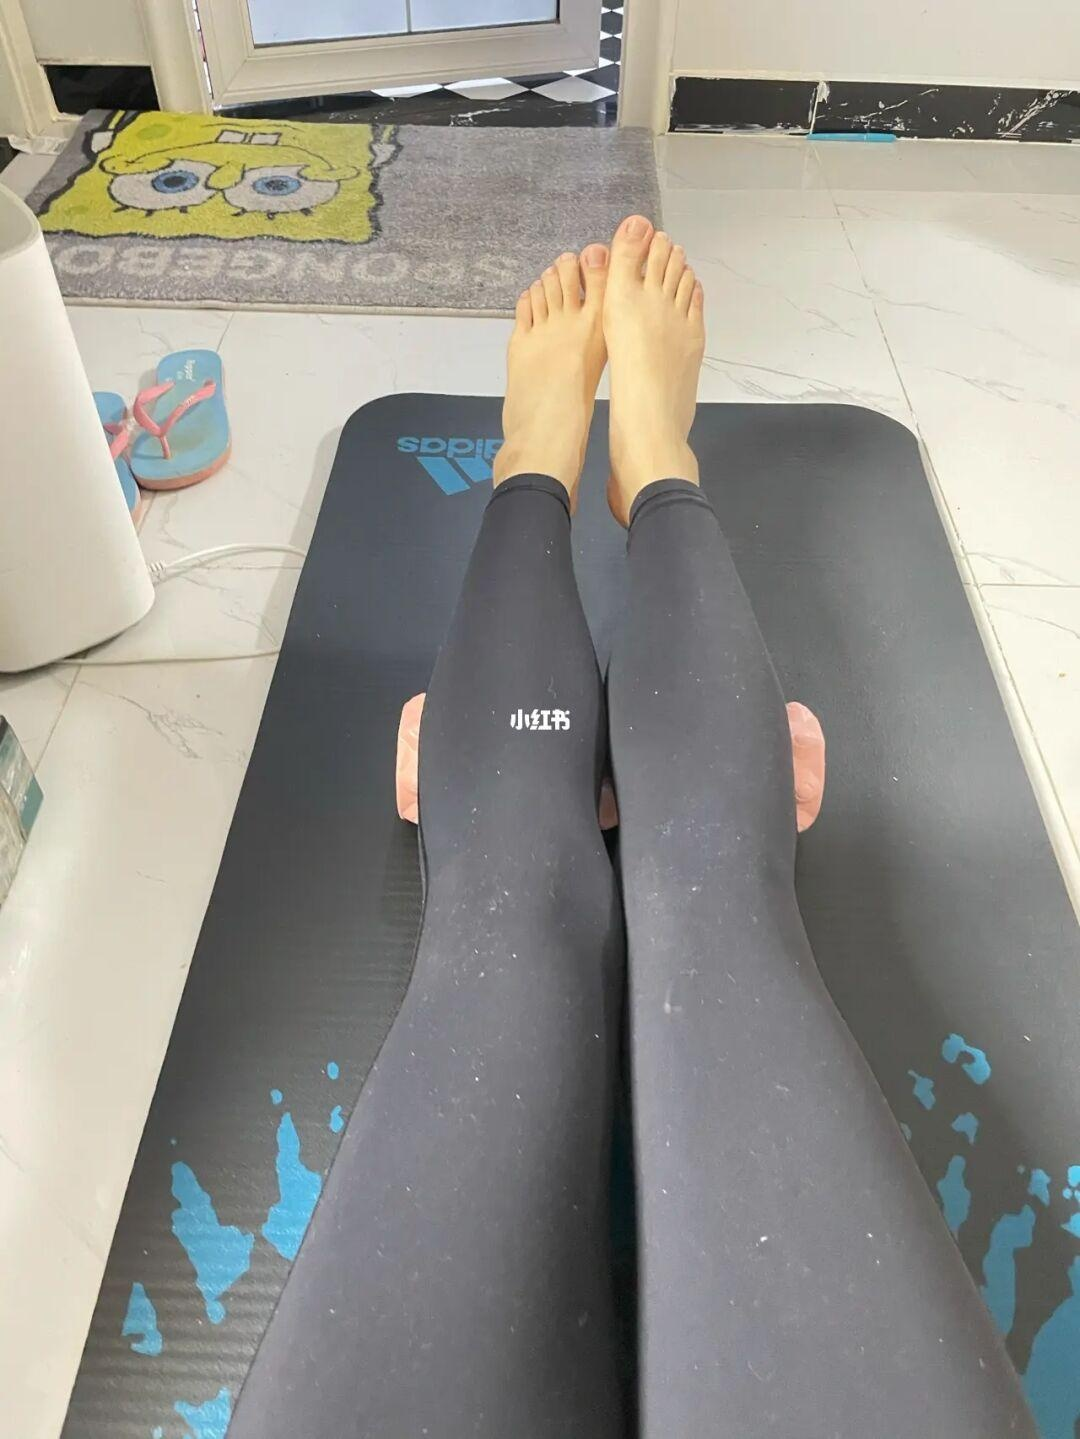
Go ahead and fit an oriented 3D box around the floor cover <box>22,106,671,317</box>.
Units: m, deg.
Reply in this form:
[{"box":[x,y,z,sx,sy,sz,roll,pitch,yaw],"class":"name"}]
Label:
[{"box":[-0.342,-0.892,1.926,1.094,0.059,0.774,1,50,1],"class":"floor cover"}]
